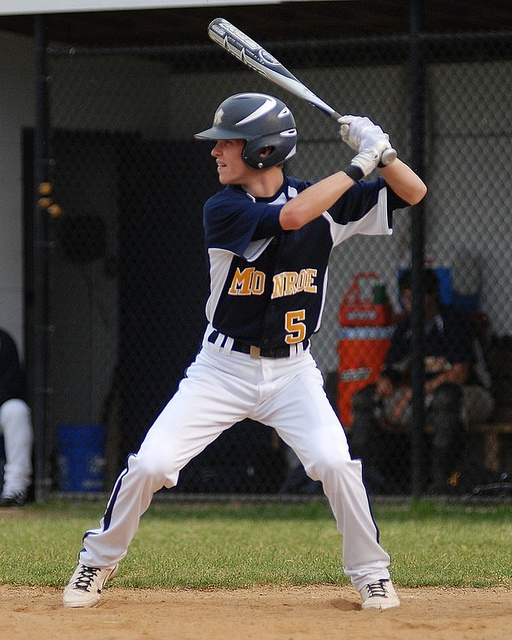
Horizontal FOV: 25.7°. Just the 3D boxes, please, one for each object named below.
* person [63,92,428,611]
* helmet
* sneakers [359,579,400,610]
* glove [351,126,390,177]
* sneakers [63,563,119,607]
[{"bbox_3d":[-0.019,0.078,3.499,0.873,1.647,0.560,-1,-6,33],"label":"person"},{"bbox_3d":[-0.023,-0.598,3.536,0.314,0.200,0.224,3,4,5],"label":"helmet"},{"bbox_3d":[0.364,0.839,3.415,0.087,0.081,0.219,-3,-13,7],"label":"sneakers"},{"bbox_3d":[0.351,-0.529,3.432,0.129,0.197,0.172,1,-5,4],"label":"glove"},{"bbox_3d":[-0.515,0.827,3.497,0.082,0.084,0.216,30,21,-3],"label":"sneakers"}]
